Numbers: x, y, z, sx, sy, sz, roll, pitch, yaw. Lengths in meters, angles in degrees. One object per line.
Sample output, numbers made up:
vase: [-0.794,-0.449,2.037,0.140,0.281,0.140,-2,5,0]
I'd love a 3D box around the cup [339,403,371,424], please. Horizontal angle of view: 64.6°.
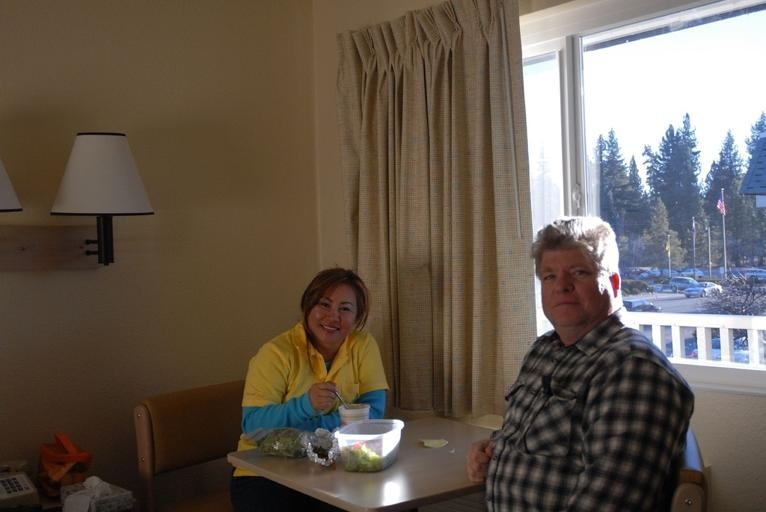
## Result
cup: [-0.112,0.629,2.450,0.091,0.066,0.088,-2,-2,0]
